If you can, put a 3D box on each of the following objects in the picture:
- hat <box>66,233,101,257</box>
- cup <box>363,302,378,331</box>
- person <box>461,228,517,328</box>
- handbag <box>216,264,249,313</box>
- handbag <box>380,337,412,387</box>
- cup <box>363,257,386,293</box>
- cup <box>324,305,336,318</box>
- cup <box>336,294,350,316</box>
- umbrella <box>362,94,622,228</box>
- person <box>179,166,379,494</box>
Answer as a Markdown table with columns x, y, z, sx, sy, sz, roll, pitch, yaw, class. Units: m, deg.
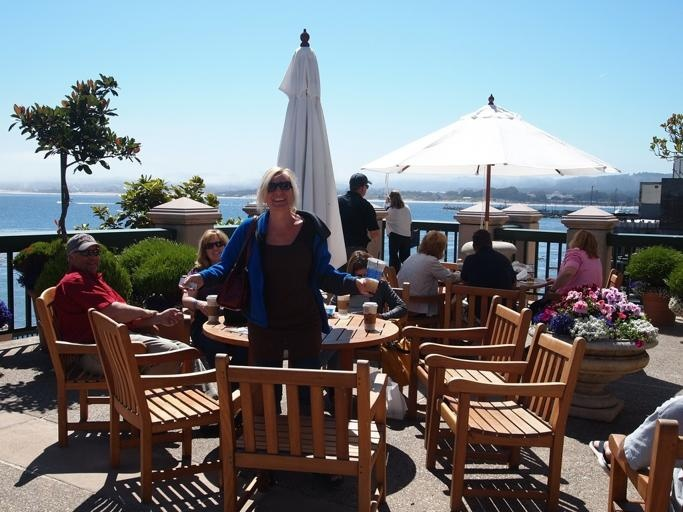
| x | y | z | sx | sy | sz | roll | pitch | yaw | class |
| --- | --- | --- | --- | --- | --- | --- | --- | --- | --- |
| -2.145 | -0.107 | 4.953 | 0.221 | 0.123 | 0.166 | -23 | -16 | 36 | hat |
| 0.221 | 0.471 | 4.633 | 0.162 | 0.253 | 0.178 | 0 | 0 | 0 | cup |
| 1.650 | 0.402 | 6.636 | 0.563 | 1.380 | 0.752 | -6 | 9 | 12 | person |
| -0.731 | 0.224 | 4.109 | 0.179 | 0.283 | 0.118 | -2 | 9 | -11 | handbag |
| 0.488 | 0.910 | 5.402 | 0.297 | 0.600 | 0.444 | -5 | -7 | 9 | handbag |
| 0.249 | 0.134 | 4.352 | 0.186 | 0.228 | 0.171 | 6 | -11 | 1 | cup |
| -0.090 | 0.471 | 5.221 | 0.087 | 0.058 | 0.132 | 0 | -2 | 2 | cup |
| 0.017 | 0.409 | 5.140 | 0.136 | 0.152 | 0.143 | 0 | -1 | 0 | cup |
| 1.712 | -1.100 | 7.040 | 2.492 | 1.650 | 2.156 | 1 | 9 | 11 | umbrella |
| -0.399 | 0.076 | 4.150 | 1.155 | 1.371 | 0.361 | 0 | 9 | 2 | person |
